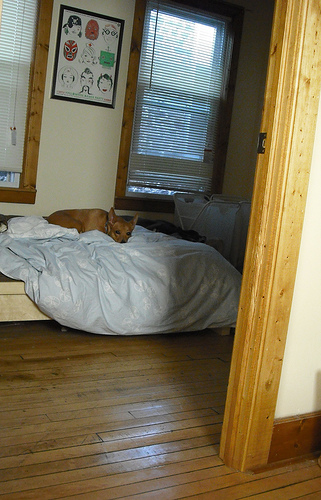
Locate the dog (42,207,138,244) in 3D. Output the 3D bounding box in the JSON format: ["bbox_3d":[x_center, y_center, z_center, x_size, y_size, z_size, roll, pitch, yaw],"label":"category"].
[{"bbox_3d":[-0.587,-0.198,3.122,0.590,0.283,0.181,23,9,9],"label":"dog"}]
